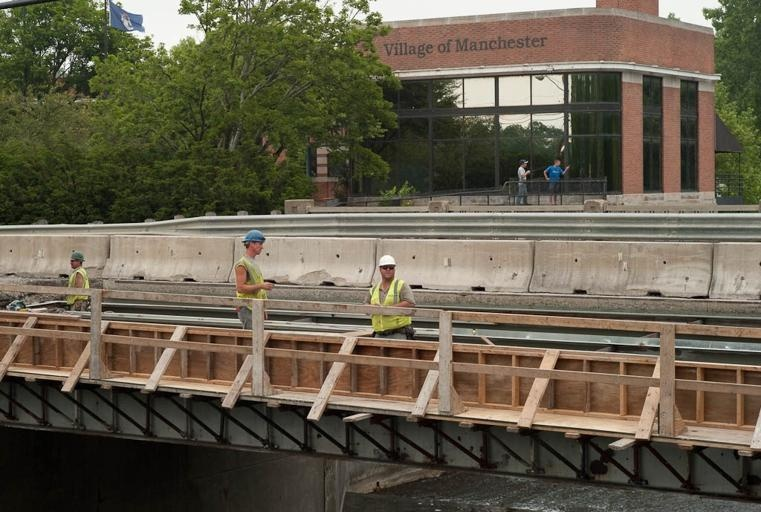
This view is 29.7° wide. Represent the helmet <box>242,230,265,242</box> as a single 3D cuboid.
[{"bbox_3d":[-3.281,-0.483,37.163,0.565,0.253,0.395,9,5,10],"label":"helmet"}]

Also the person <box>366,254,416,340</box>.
[{"bbox_3d":[0.327,1.040,36.372,1.104,2.116,1.198,0,-1,1],"label":"person"}]

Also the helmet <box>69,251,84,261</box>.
[{"bbox_3d":[-8.782,0.006,41.774,0.351,0.163,0.257,12,8,12],"label":"helmet"}]
